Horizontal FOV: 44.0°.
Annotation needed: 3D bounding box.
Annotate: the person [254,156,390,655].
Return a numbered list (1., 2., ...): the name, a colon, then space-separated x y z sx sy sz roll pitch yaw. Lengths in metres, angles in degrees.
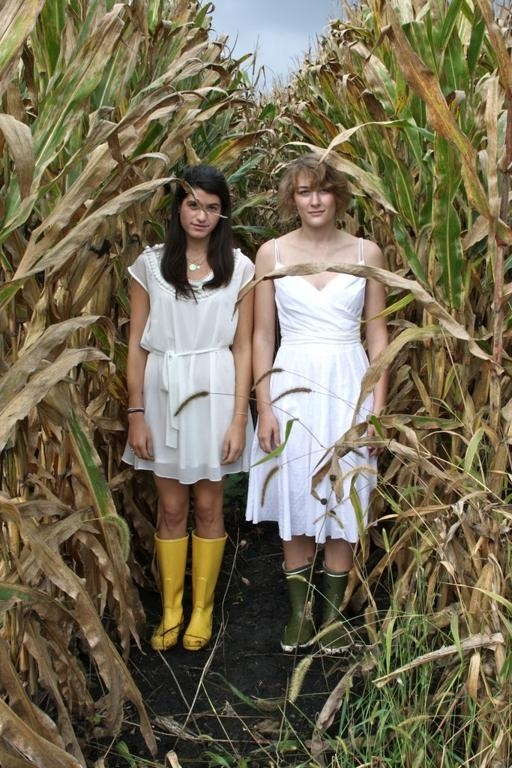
1. person: 0.168 0.088 1.785 0.347 1.352 0.358 1 7 -3

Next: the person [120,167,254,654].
1. person: -0.205 0.085 1.793 0.386 1.352 0.343 0 6 5
